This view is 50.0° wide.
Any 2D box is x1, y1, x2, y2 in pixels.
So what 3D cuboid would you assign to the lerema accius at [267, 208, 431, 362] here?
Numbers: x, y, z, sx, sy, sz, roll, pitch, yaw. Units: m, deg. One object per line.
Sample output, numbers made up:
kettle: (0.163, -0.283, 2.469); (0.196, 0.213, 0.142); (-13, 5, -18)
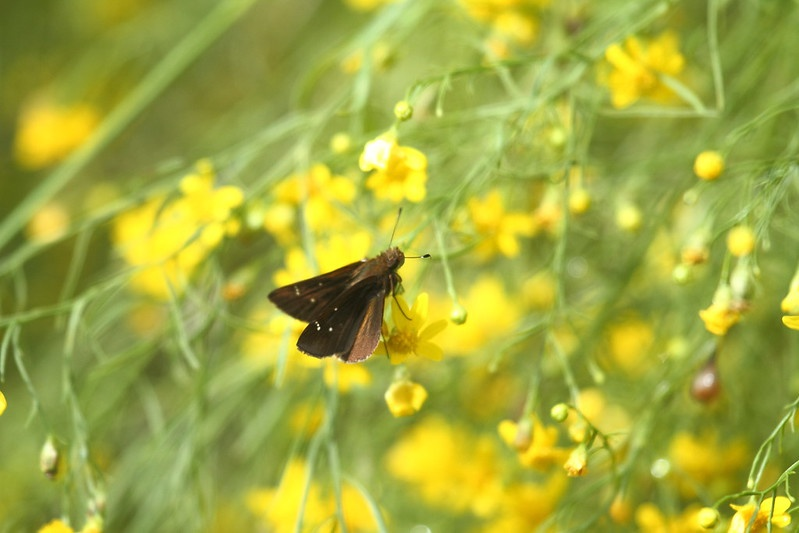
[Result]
lerema accius: (-0.037, 0.035, 1.072); (0.217, 0.188, 0.101); (-34, -67, -1)
